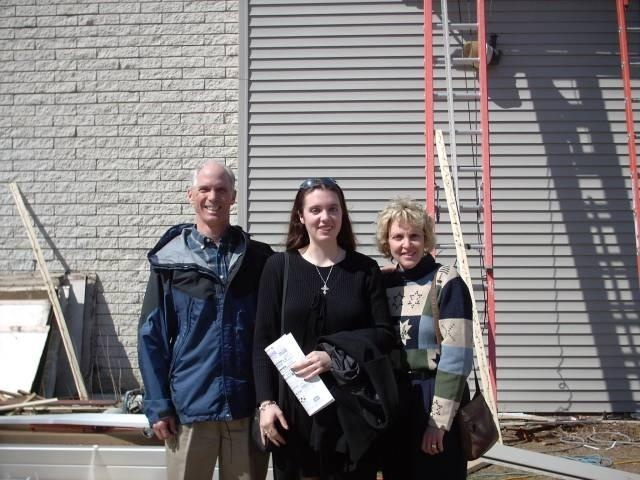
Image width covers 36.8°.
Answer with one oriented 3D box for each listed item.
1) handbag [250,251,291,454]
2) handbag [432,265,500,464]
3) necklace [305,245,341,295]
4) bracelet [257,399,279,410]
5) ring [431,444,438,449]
[{"bbox_3d":[-0.389,0.864,7.599,0.319,1.349,0.243,-1,0,2],"label":"handbag"},{"bbox_3d":[1.148,0.992,7.672,0.508,1.423,0.195,-1,0,4],"label":"handbag"},{"bbox_3d":[0.025,0.242,7.642,0.436,0.415,0.014,0,-18,-1],"label":"necklace"},{"bbox_3d":[-0.426,1.273,7.548,0.084,0.029,0.112,-9,13,-21],"label":"bracelet"},{"bbox_3d":[0.901,1.608,7.545,0.049,0.037,0.013,-1,0,7],"label":"ring"}]
